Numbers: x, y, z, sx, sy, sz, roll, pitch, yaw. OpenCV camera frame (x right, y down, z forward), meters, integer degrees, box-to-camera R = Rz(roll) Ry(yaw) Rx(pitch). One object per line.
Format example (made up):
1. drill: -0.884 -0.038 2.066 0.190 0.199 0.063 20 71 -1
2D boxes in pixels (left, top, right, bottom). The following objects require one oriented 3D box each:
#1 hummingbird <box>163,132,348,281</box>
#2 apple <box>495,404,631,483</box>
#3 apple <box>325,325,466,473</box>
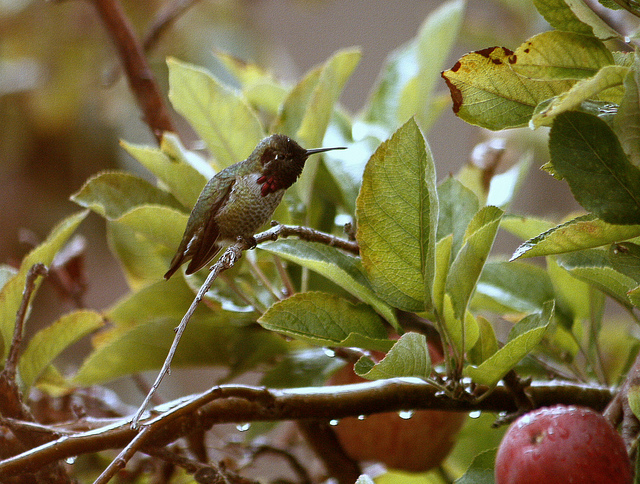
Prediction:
1. hummingbird: -0.075 -0.036 0.674 0.176 0.107 0.080 -12 -5 12
2. apple: 0.185 0.152 0.548 0.068 0.068 0.068 -15 11 22
3. apple: 0.084 0.171 0.958 0.186 0.224 0.191 2 3 -12
